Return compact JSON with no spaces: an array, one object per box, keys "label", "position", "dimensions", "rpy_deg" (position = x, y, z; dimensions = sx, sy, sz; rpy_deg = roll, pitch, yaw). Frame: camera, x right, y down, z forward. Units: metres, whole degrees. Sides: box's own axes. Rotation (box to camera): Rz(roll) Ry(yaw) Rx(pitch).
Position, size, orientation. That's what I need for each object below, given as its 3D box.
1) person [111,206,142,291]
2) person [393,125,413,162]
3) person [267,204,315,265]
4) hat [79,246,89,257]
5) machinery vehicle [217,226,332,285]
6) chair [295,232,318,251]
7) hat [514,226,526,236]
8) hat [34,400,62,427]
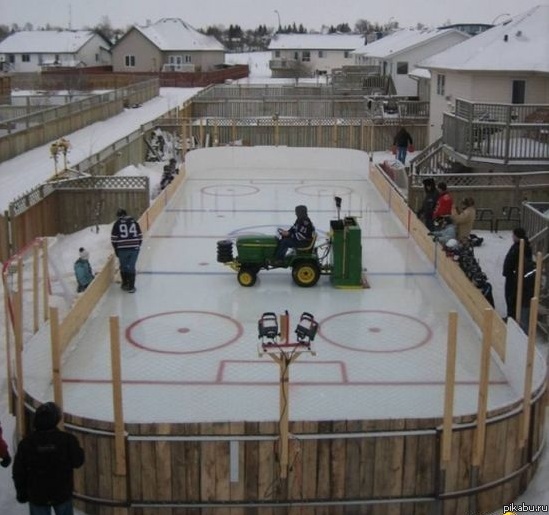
[{"label":"person","position":[-2.669,-0.144,12.140],"dimensions":[0.501,1.533,0.530],"rpy_deg":[-1,12,-5]},{"label":"person","position":[4.912,-4.279,25.646],"dimensions":[0.608,1.659,0.412],"rpy_deg":[4,-18,8]},{"label":"person","position":[0.348,-0.445,12.254],"dimensions":[0.561,1.188,0.457],"rpy_deg":[10,12,-5]},{"label":"hat","position":[-3.728,-0.116,13.067],"dimensions":[0.112,0.162,0.158],"rpy_deg":[-8,40,-7]},{"label":"machinery vehicle","position":[-0.031,-0.083,12.807],"dimensions":[1.996,1.210,1.113],"rpy_deg":[2,9,1]},{"label":"chair","position":[0.599,-0.317,12.415],"dimensions":[0.304,0.358,0.363],"rpy_deg":[5,1,7]},{"label":"hat","position":[3.755,-0.403,10.312],"dimensions":[0.171,0.185,0.388],"rpy_deg":[6,15,21]},{"label":"hat","position":[-1.950,1.314,5.765],"dimensions":[0.152,0.231,0.229],"rpy_deg":[3,9,-9]}]
